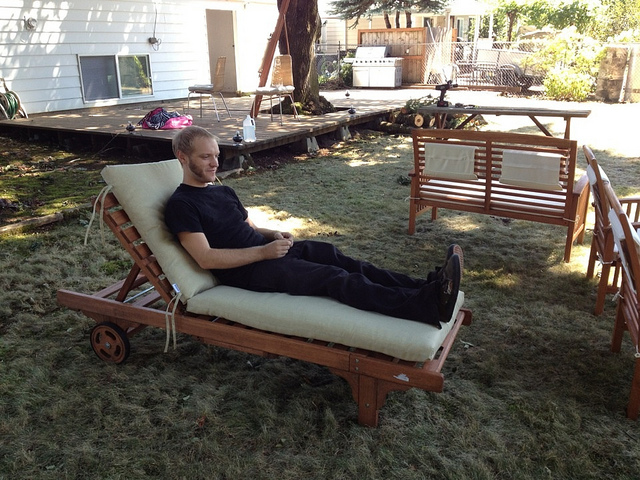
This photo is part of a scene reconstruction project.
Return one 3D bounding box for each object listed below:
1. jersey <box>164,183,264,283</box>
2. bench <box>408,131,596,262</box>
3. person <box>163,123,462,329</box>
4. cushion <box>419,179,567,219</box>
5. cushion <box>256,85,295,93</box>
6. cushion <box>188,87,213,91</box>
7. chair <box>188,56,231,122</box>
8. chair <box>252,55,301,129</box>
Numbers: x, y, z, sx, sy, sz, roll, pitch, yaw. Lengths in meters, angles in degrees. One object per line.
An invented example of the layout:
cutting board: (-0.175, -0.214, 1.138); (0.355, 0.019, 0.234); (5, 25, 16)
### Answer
jersey: (-0.658, -0.094, 3.121); (0.403, 0.677, 0.724); (-23, 1, 29)
bench: (1.743, -0.521, 4.559); (1.673, 1.124, 0.739); (12, 25, 35)
person: (-0.104, -0.108, 2.954); (1.847, 0.964, 0.787); (9, 15, 17)
cushion: (1.646, -0.458, 4.463); (1.329, 0.284, 0.355); (12, 23, 28)
cushion: (-0.858, -2.837, 8.708); (0.710, 0.116, 0.478); (-3, 20, -12)
cushion: (-2.306, -2.904, 8.889); (0.593, 0.072, 0.132); (16, 24, 35)
chair: (-2.204, -2.970, 9.041); (0.753, 1.115, 0.683); (2, 21, 1)
chair: (-0.897, -2.880, 8.947); (0.755, 1.236, 0.810); (17, 31, 35)
